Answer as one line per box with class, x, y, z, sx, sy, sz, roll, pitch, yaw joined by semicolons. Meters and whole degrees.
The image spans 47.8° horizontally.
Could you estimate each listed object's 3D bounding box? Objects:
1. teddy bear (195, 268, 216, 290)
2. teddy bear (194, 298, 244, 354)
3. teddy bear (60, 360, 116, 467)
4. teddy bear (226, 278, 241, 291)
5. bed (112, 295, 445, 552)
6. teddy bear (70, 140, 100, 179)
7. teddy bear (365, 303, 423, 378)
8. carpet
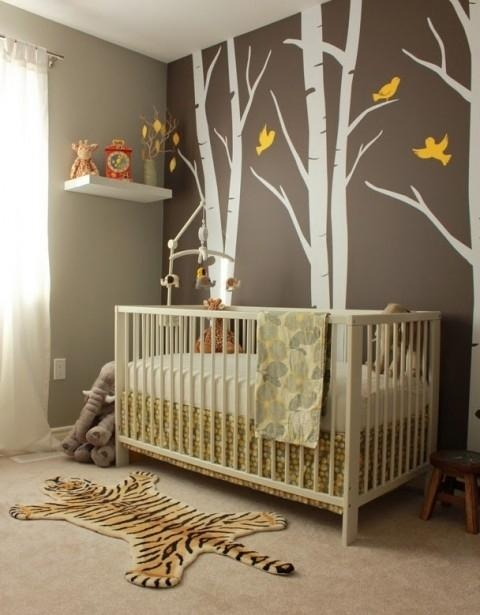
teddy bear;-0.184;-0.144;2.816;0.083;0.158;0.134;-2;3;-39
teddy bear;-0.090;0.085;2.492;0.225;0.311;0.161;-1;0;17
teddy bear;-0.687;0.505;2.621;0.305;0.498;0.245;1;0;30
teddy bear;-0.038;-0.121;2.882;0.060;0.074;0.052;3;-1;-1
bed;0.121;0.352;2.291;1.153;0.831;0.735;7;7;43
teddy bear;-0.860;-0.808;2.946;0.125;0.203;0.092;-4;31;-19
teddy bear;0.586;0.124;1.991;0.130;0.215;0.266;-1;2;-9
carpet;-0.302;0.718;1.845;1.156;0.027;0.650;1;-1;38
